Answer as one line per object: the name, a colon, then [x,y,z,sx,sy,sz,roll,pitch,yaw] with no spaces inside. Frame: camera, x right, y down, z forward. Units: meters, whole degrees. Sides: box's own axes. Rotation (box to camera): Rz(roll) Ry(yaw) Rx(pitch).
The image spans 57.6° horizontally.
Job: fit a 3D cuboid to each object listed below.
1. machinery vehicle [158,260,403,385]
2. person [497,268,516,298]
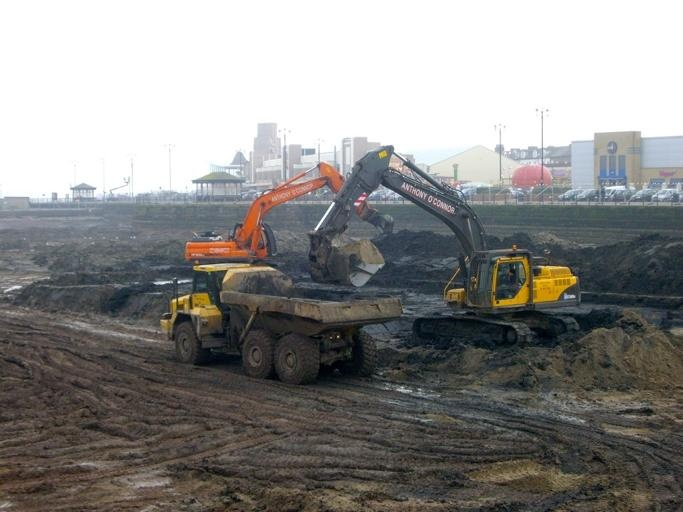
machinery vehicle: [-1.113,1.471,13.858,5.649,1.998,2.351,5,4,40]
person: [4.104,0.667,15.141,0.583,0.712,0.168,-4,8,-30]
